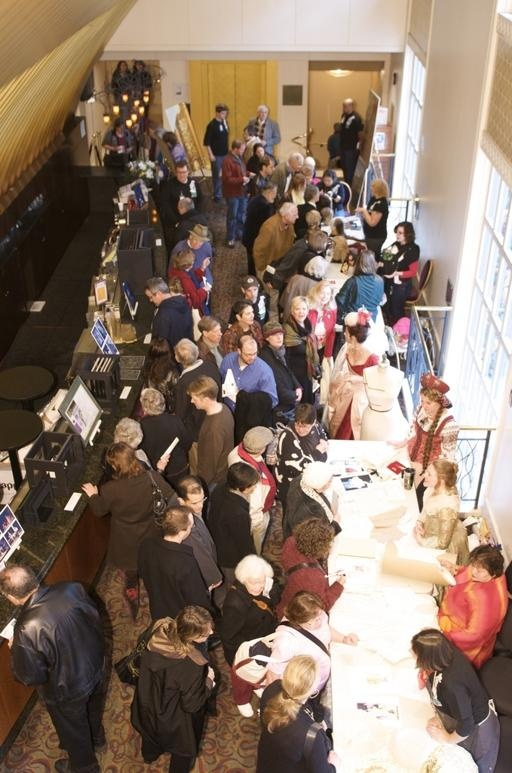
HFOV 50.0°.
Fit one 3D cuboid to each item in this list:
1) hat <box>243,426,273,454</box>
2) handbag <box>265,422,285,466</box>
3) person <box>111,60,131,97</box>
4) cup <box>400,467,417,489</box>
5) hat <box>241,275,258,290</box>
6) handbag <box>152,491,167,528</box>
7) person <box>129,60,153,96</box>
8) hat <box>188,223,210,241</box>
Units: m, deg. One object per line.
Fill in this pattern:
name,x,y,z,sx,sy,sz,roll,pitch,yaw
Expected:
hat,0.009,0.305,3.188,0.118,0.089,0.174,19,61,23
handbag,0.134,0.376,3.601,0.165,0.244,0.116,8,-1,-41
person,-3.106,-7.021,12.513,0.471,0.703,0.780,-5,29,-11
cup,0.913,0.553,3.312,0.078,0.127,0.080,-7,30,4
hat,-0.063,-0.926,4.995,0.113,0.177,0.168,-7,20,-2
handbag,-0.545,0.691,3.080,0.072,0.214,0.137,11,39,1
person,-2.641,-7.087,12.568,0.575,0.897,0.221,-3,2,-7
hat,-0.583,-1.598,5.640,0.177,0.084,0.203,26,17,-25
